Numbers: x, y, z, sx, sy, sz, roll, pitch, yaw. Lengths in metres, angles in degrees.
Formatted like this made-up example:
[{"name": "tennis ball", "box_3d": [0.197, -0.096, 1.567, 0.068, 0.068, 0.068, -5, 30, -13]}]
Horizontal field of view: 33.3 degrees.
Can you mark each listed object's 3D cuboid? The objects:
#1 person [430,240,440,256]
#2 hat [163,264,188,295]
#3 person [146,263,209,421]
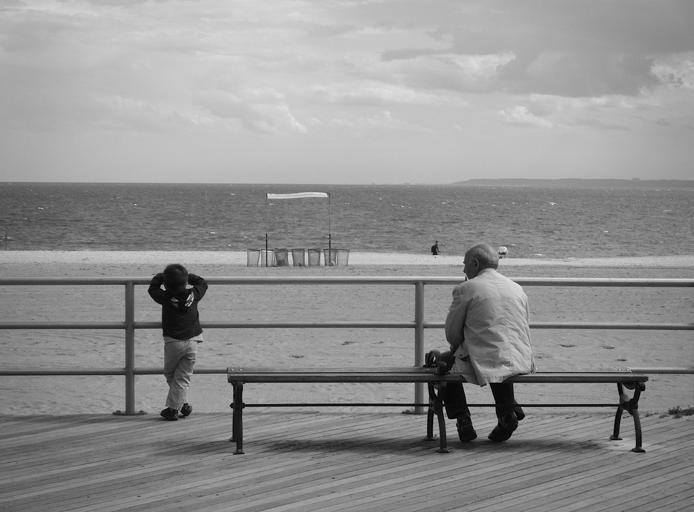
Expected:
[{"name": "person", "box_3d": [5.178, -0.504, 67.498, 0.579, 0.932, 0.698, -13, 34, -14]}, {"name": "hat", "box_3d": [-2.086, 0.252, 14.283, 0.310, 0.341, 0.376, 0, 7, -13]}, {"name": "person", "box_3d": [-2.070, 1.041, 14.271, 0.709, 1.912, 0.453, -2, 8, -14]}]
